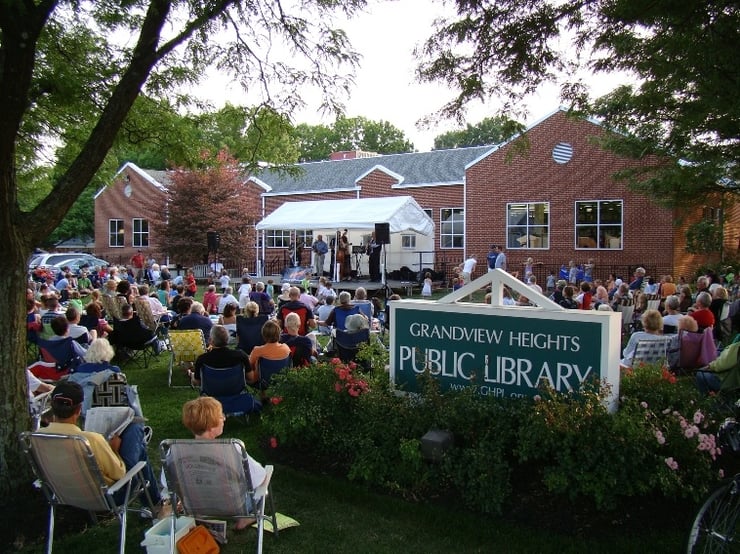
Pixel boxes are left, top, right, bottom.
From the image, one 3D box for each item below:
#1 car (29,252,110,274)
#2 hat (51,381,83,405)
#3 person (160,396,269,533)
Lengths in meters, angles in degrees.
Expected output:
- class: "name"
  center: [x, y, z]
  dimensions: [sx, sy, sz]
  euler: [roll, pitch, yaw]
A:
- class: "car"
  center: [-11.745, -0.535, 25.643]
  dimensions: [1.847, 0.744, 0.892]
  euler: [-8, 10, -37]
- class: "hat"
  center: [-2.655, 0.991, 5.823]
  dimensions: [0.181, 0.218, 0.226]
  euler: [8, 12, -5]
- class: "person"
  center: [-1.421, 1.619, 5.934]
  dimensions: [0.726, 1.113, 0.633]
  euler: [1, 8, 33]
